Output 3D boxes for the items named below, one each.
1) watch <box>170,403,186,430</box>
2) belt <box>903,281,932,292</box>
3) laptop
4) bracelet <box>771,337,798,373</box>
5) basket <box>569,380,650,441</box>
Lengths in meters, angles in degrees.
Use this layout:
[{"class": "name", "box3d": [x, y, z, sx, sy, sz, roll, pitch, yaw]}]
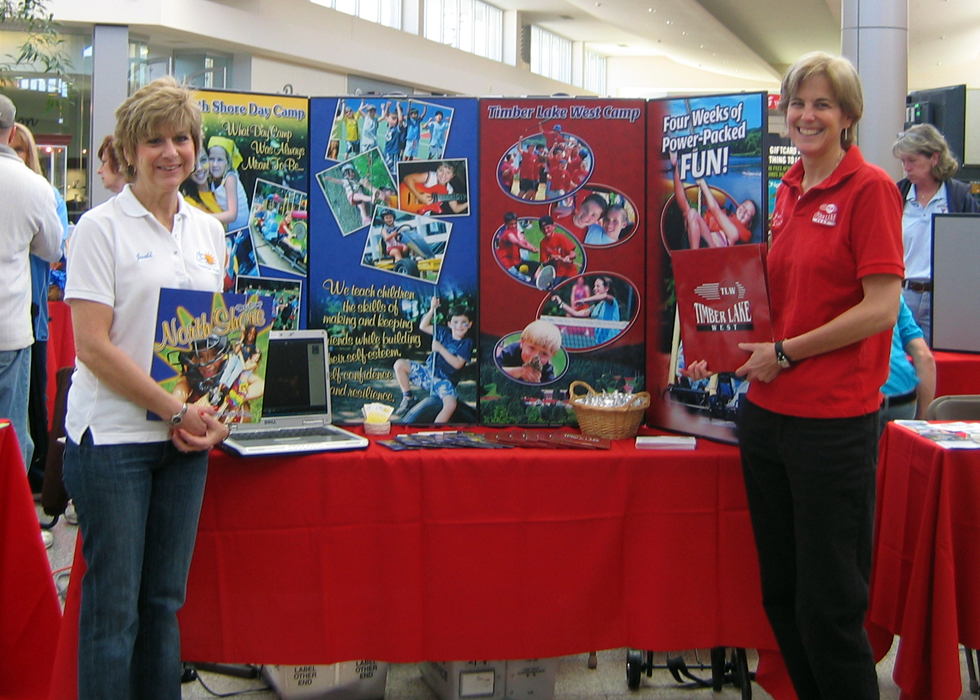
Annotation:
[{"class": "watch", "box3d": [-0.952, 0.198, 2.683, 0.038, 0.067, 0.057, 32, -16, -12]}, {"class": "belt", "box3d": [2.503, -0.387, 5.108, 0.053, 0.061, 0.176, -3, 9, -29]}, {"class": "laptop", "box3d": [-0.792, 0.168, 3.414, 0.493, 0.464, 0.434, 0, 1, -26]}, {"class": "bracelet", "box3d": [0.962, 0.016, 2.897, 0.058, 0.101, 0.085, -28, -40, 37]}, {"class": "basket", "box3d": [0.482, 0.245, 3.526, 0.232, 0.166, 0.250, 3, 6, 18]}]
